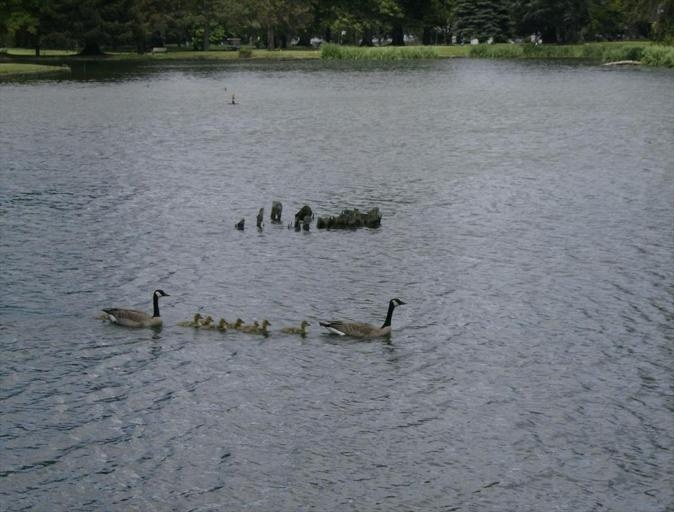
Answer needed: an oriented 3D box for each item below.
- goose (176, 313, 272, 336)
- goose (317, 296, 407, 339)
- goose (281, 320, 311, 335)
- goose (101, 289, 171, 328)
[{"bbox_3d":[-3.792,2.353,37.017,3.156,0.389,0.781,5,20,11],"label":"goose"},{"bbox_3d":[0.887,2.258,36.785,3.290,1.599,0.891,0,9,18],"label":"goose"},{"bbox_3d":[-1.376,2.503,36.645,1.039,0.377,0.691,-3,20,-11],"label":"goose"},{"bbox_3d":[-7.156,1.868,37.128,2.034,1.117,0.892,-1,22,-7],"label":"goose"}]
